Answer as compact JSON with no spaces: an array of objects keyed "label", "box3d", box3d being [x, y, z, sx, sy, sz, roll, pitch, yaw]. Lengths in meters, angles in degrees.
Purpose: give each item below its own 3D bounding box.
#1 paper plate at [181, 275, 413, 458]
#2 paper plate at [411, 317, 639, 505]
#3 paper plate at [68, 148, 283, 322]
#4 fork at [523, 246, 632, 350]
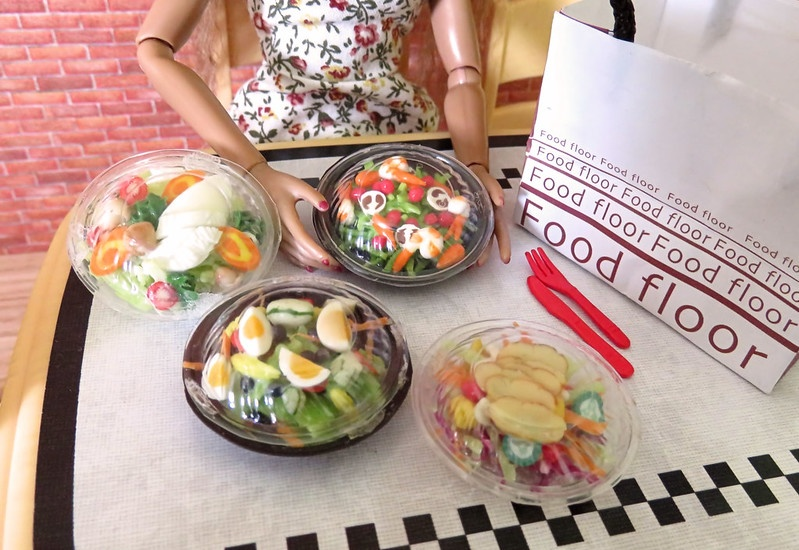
[{"label":"paper plate","box3d":[-0.186,0.133,1.006,0.397,0.136,0.421,-2,44,-9]},{"label":"paper plate","box3d":[0.224,0.237,0.987,0.390,0.101,0.410,-1,34,-4]},{"label":"paper plate","box3d":[-0.457,-0.068,1.044,0.342,0.126,0.367,8,71,-9]},{"label":"fork","box3d":[0.386,0.055,1.158,0.035,0.037,0.248,-24,63,-24]}]
